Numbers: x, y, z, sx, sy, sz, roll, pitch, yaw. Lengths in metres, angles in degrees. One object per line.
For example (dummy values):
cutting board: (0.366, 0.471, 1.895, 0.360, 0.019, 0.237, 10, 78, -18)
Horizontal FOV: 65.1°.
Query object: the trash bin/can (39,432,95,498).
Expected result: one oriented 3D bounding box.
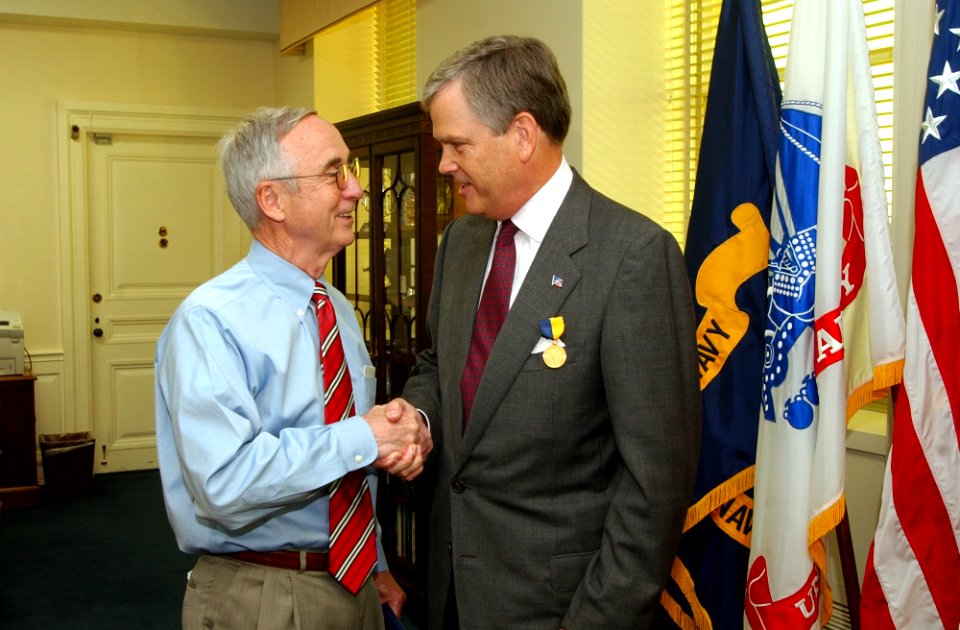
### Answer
trash bin/can: (-3.297, 1.144, 6.014, 0.376, 0.499, 0.365, -2, 21, -32)
